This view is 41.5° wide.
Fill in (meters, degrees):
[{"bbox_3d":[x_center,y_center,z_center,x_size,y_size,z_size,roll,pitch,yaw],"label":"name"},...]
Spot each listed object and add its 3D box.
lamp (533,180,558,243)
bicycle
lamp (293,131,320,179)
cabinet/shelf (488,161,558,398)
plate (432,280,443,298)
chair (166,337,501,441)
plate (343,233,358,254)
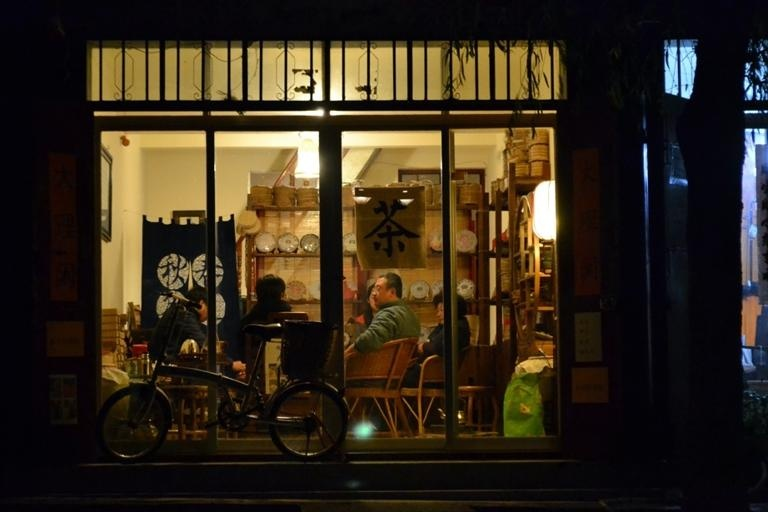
[{"bbox_3d":[1.664,-0.472,10.500,0.229,0.616,0.446,1,-4,6],"label":"lamp"},{"bbox_3d":[-1.605,1.386,10.347,2.467,1.634,1.272,1,-9,-2],"label":"bicycle"},{"bbox_3d":[-0.806,-1.037,10.523,0.215,0.433,0.449,2,-4,-9],"label":"lamp"},{"bbox_3d":[1.497,0.222,10.869,0.630,2.467,1.165,1,-4,6],"label":"cabinet/shelf"},{"bbox_3d":[0.542,0.331,10.323,0.109,0.146,0.058,2,-5,12],"label":"plate"},{"bbox_3d":[-0.462,1.456,10.386,2.818,1.412,1.183,0,-4,-6],"label":"chair"},{"bbox_3d":[-0.351,-0.122,10.291,0.130,0.209,0.034,1,-4,9],"label":"plate"}]
